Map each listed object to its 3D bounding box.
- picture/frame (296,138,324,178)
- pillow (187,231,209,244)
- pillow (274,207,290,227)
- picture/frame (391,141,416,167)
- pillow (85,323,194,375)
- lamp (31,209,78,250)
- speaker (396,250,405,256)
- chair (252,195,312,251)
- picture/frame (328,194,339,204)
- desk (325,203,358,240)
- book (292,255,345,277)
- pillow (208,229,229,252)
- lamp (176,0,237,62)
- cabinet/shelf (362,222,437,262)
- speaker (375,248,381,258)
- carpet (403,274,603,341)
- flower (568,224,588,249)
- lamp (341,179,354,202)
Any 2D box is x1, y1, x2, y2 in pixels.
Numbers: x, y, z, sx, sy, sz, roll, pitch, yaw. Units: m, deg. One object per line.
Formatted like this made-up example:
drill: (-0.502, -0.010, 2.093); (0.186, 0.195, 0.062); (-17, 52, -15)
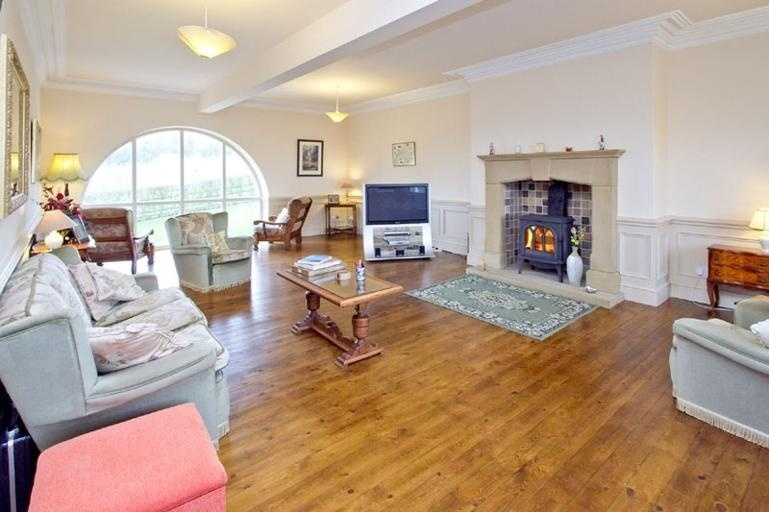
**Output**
picture/frame: (-1.801, -2.324, 10.986); (0.931, 1.082, 0.073); (-5, 7, -45)
pillow: (-2.684, -0.242, 6.726); (0.189, 0.167, 0.243); (8, 13, 37)
pillow: (-2.057, -0.807, 9.475); (0.107, 0.346, 0.364); (26, -4, -30)
picture/frame: (0.417, -2.178, 9.963); (0.062, 0.447, 0.606); (-3, 5, -37)
pillow: (-1.778, 0.638, 3.353); (0.394, 0.146, 0.444); (4, 6, 38)
lamp: (-3.700, -0.332, 5.283); (0.529, 0.504, 0.523); (-2, 10, -24)
speaker: (0.271, -0.039, 8.322); (0.169, 0.157, 0.091); (1, 16, 0)
chair: (-2.078, -0.779, 9.880); (1.273, 1.216, 0.928); (1, 7, 0)
picture/frame: (-1.263, -1.356, 11.342); (0.271, 0.229, 0.035); (0, -5, -28)
desk: (-1.073, -0.906, 11.481); (0.801, 0.772, 0.502); (-2, 10, -13)
book: (-0.740, 0.107, 5.340); (0.329, 0.095, 0.351); (7, 10, 42)
pillow: (-2.453, -0.196, 6.862); (0.089, 0.285, 0.305); (-22, -10, 38)
lamp: (-1.786, -2.153, 4.682); (0.446, 0.234, 0.329); (2, 10, 14)
cabinet/shelf: (0.192, -0.036, 8.517); (1.254, 0.800, 0.645); (-1, 1, -9)
speaker: (-0.122, -0.048, 8.280); (0.120, 0.172, 0.033); (0, 10, 0)
carpet: (1.520, 0.617, 6.091); (1.387, 0.224, 1.941); (-9, 14, -43)
flower: (2.709, -0.244, 6.544); (0.256, 0.361, 0.325); (7, 12, 36)
lamp: (-0.951, -1.606, 11.610); (0.262, 0.555, 0.382); (-5, 11, -27)
